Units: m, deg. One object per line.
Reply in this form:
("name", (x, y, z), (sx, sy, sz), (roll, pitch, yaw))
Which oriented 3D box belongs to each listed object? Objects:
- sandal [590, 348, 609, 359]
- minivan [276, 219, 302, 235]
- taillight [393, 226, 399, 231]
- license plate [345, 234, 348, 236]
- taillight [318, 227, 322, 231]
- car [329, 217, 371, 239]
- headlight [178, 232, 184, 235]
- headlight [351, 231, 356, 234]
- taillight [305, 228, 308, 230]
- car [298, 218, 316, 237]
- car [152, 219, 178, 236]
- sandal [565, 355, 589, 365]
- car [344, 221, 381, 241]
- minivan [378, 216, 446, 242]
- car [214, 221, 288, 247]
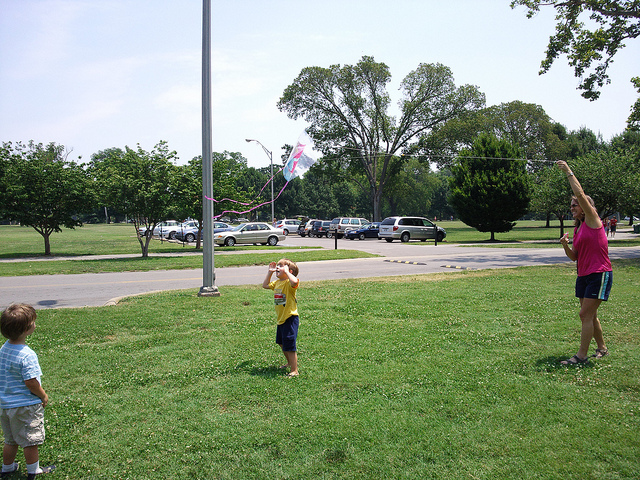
("sandal", (4.282, 1.741, 8.457), (0.309, 0.125, 0.103), (-5, -2, -31))
("minivan", (-3.082, -1.216, 54.334), (1.916, 1.478, 2.659), (-6, 15, -18))
("taillight", (5.214, -0.819, 38.386), (0.302, 0.311, 0.118), (0, 15, 5))
("license plate", (2.078, -0.440, 44.469), (0.169, 0.169, 0.174), (1, 1, 5))
("taillight", (-0.014, -1.032, 49.389), (0.150, 0.189, 0.290), (-3, 29, -9))
("car", (2.347, -0.995, 45.235), (2.883, 1.100, 1.527), (-7, 7, -25))
("headlight", (-11.440, -0.575, 44.968), (0.294, 0.222, 0.168), (-1, -3, 16))
("headlight", (2.597, -0.630, 43.438), (0.348, 0.144, 0.068), (1, 15, 7))
("taillight", (-1.335, -1.052, 51.510), (0.184, 0.192, 0.181), (0, 0, -26))
("car", (-0.847, -1.168, 52.079), (2.039, 1.156, 1.119), (-4, 6, -18))
("car", (-11.603, -0.946, 41.534), (2.742, 1.206, 1.320), (1, 0, -18))
("sandal", (3.817, 1.793, 8.199), (0.310, 0.118, 0.115), (3, -3, 7))
("car", (3.423, -0.682, 44.115), (2.889, 1.000, 1.287), (-1, -2, -29))
("minivan", (6.490, -0.758, 39.671), (3.842, 1.900, 3.748), (2, 2, -31))
("car", (-4.791, -0.537, 36.414), (4.564, 1.473, 1.827), (2, -1, -26))
